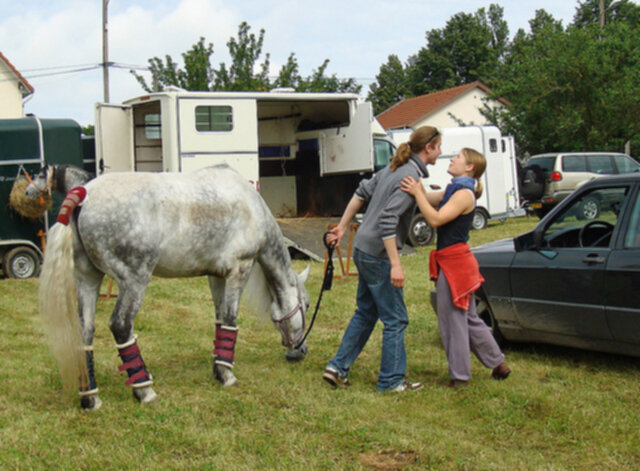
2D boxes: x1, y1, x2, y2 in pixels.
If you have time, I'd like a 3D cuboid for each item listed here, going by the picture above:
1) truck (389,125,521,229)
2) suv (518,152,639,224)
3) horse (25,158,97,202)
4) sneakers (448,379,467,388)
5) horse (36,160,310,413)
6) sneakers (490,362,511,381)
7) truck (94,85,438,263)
[{"bbox_3d":[4.005,-1.918,18.926,3.980,3.263,2.493,-1,2,-21],"label":"truck"},{"bbox_3d":[5.505,-1.134,13.243,3.281,1.503,1.838,-10,9,-24],"label":"suv"},{"bbox_3d":[-2.711,-0.534,6.367,0.258,0.517,1.025,12,6,20],"label":"horse"},{"bbox_3d":[1.410,1.498,6.131,0.176,0.130,0.066,-4,1,12],"label":"sneakers"},{"bbox_3d":[-1.351,0.493,6.504,0.858,2.539,3.293,0,0,44],"label":"horse"},{"bbox_3d":[1.887,1.429,6.305,0.105,0.116,0.227,-1,-14,-20],"label":"sneakers"},{"bbox_3d":[-1.713,-1.318,14.617,6.696,3.439,3.901,-4,8,-27],"label":"truck"}]
